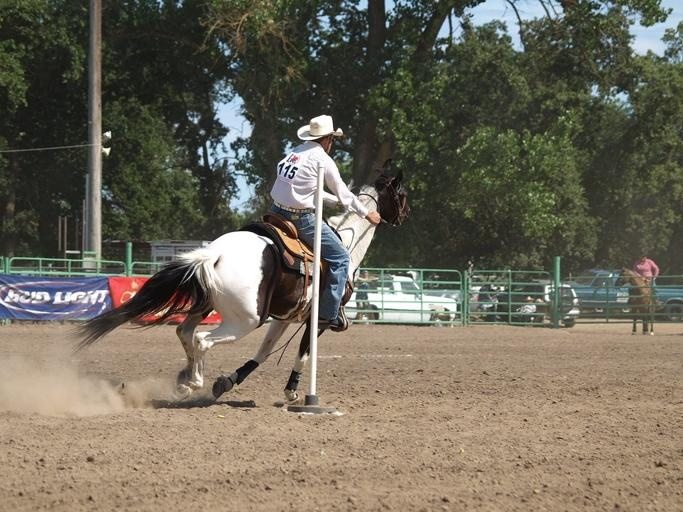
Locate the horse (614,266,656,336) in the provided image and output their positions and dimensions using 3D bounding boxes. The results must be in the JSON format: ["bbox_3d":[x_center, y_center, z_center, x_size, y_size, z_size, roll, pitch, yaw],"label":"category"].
[{"bbox_3d":[10.941,1.780,45.178,1.386,2.540,3.978,4,12,13],"label":"horse"}]

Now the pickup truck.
[{"bbox_3d":[11.054,1.372,46.789,4.718,1.757,2.357,1,-3,-2],"label":"pickup truck"}]

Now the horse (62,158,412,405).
[{"bbox_3d":[-2.421,0.851,31.761,10.157,6.042,2.397,1,8,-40],"label":"horse"}]

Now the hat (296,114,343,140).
[{"bbox_3d":[-0.465,-3.233,31.558,0.933,0.352,0.838,-27,38,-34],"label":"hat"}]
